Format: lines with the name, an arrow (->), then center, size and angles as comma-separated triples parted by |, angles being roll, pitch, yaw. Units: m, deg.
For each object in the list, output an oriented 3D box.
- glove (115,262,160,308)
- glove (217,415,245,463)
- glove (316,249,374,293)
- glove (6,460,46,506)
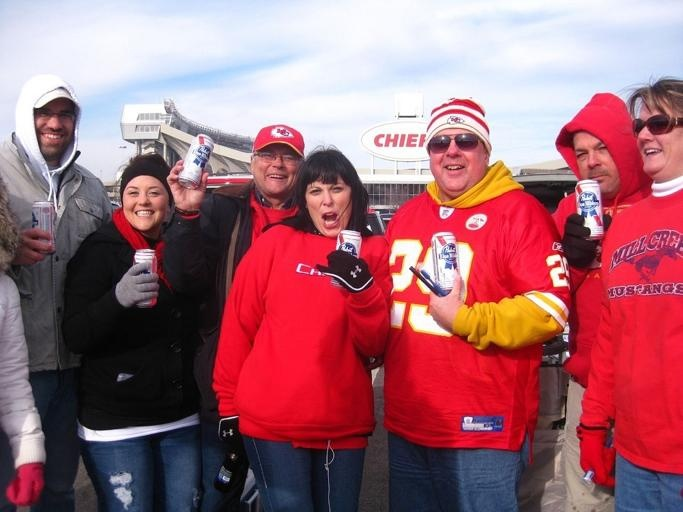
glove -> -1.494, 0.214, 4.495 | 0.299, 0.318, 0.168 | -2, 2, -21
glove -> -0.792, 1.311, 4.482 | 0.237, 0.314, 0.115 | 7, 11, 13
glove -> 0.036, 0.091, 3.976 | 0.320, 0.255, 0.087 | 35, -24, 16
glove -> -2.017, 1.446, 3.927 | 0.201, 0.247, 0.217 | -2, 2, -24
